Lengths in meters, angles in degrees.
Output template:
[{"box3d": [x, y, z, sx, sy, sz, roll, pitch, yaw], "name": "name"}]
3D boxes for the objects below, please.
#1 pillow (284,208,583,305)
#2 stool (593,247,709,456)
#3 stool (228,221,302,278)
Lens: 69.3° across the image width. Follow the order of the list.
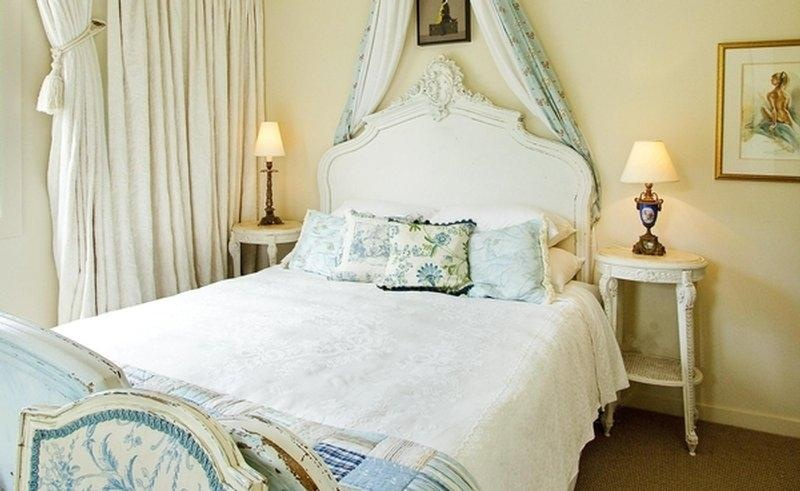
[{"box3d": [0.183, -0.097, 4.003, 1.480, 0.436, 0.856, 3, 6, 15], "name": "pillow"}, {"box3d": [1.761, 0.700, 4.060, 0.680, 1.248, 0.757, -7, 8, -43], "name": "stool"}, {"box3d": [-1.156, 0.077, 4.820, 0.495, 0.502, 0.445, 7, 14, 7], "name": "stool"}]
